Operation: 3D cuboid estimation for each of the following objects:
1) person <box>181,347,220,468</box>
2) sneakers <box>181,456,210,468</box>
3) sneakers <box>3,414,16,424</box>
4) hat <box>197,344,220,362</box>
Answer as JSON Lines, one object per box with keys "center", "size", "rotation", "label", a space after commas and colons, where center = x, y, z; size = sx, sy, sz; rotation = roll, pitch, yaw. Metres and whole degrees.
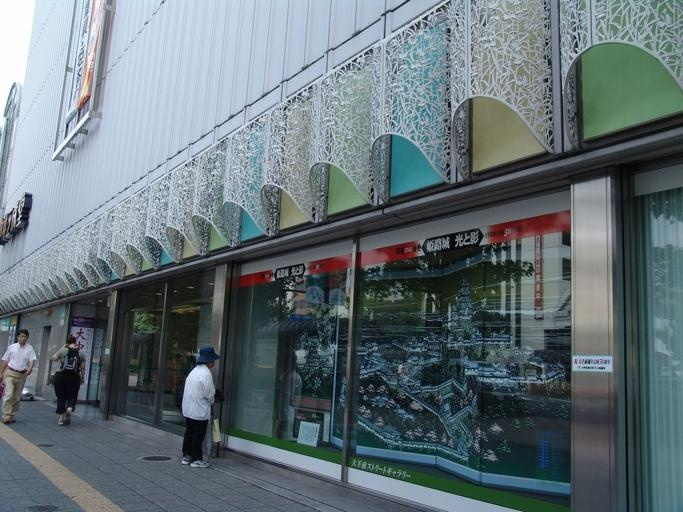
{"center": [-2.472, 2.597, 8.740], "size": [0.503, 2.035, 0.602], "rotation": [10, -14, -34], "label": "person"}
{"center": [-2.516, 3.558, 8.656], "size": [0.435, 0.229, 0.186], "rotation": [3, -6, -8], "label": "sneakers"}
{"center": [-8.209, 4.033, 12.408], "size": [0.228, 0.167, 0.262], "rotation": [13, -17, -41], "label": "sneakers"}
{"center": [-2.327, 1.732, 8.837], "size": [0.310, 0.207, 0.339], "rotation": [-2, 1, 43], "label": "hat"}
